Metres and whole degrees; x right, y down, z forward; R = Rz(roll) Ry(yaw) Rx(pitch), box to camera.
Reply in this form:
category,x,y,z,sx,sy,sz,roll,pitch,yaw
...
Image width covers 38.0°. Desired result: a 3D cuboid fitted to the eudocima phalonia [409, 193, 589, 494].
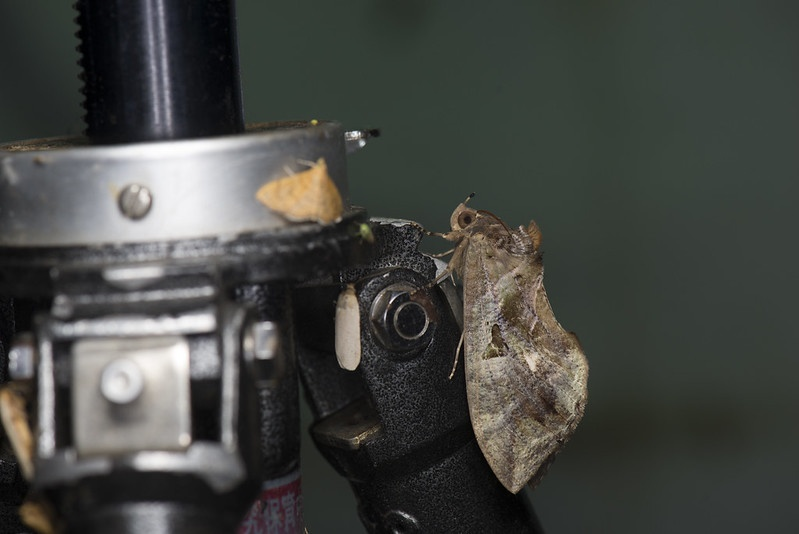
category,x,y,z,sx,sy,sz,roll,pitch,yaw
eudocima phalonia,0.125,0.081,1.274,0.109,0.285,0.174,-19,-39,28
